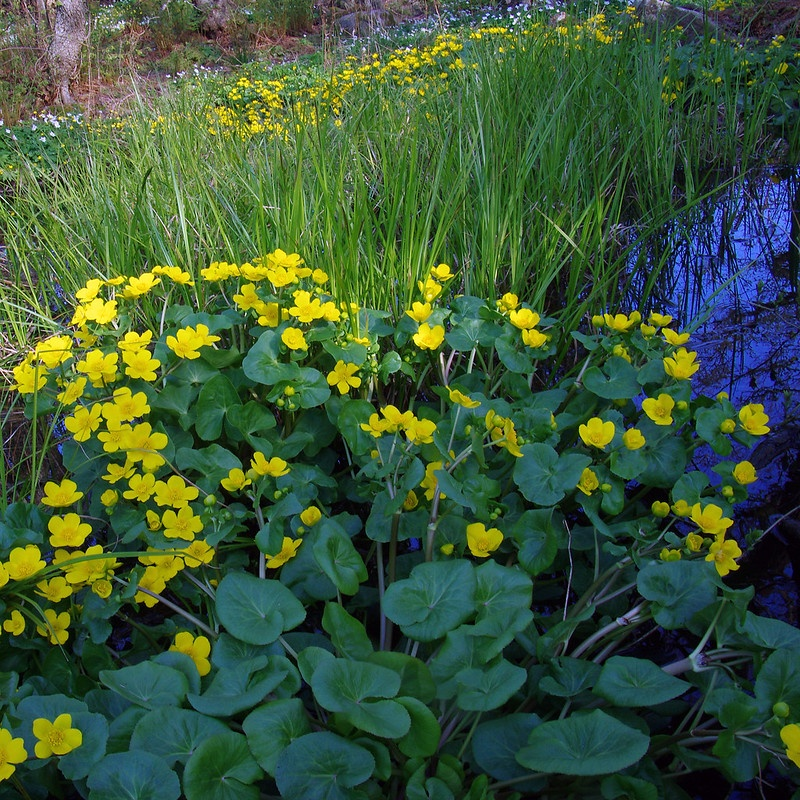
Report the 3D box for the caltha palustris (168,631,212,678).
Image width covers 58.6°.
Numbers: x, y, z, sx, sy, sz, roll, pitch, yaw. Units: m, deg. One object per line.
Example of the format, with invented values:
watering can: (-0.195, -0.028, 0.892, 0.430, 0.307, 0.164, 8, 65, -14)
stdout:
caltha palustris: (-0.470, 0.562, 1.616, 0.090, 0.092, 0.053, 6, 27, 21)
